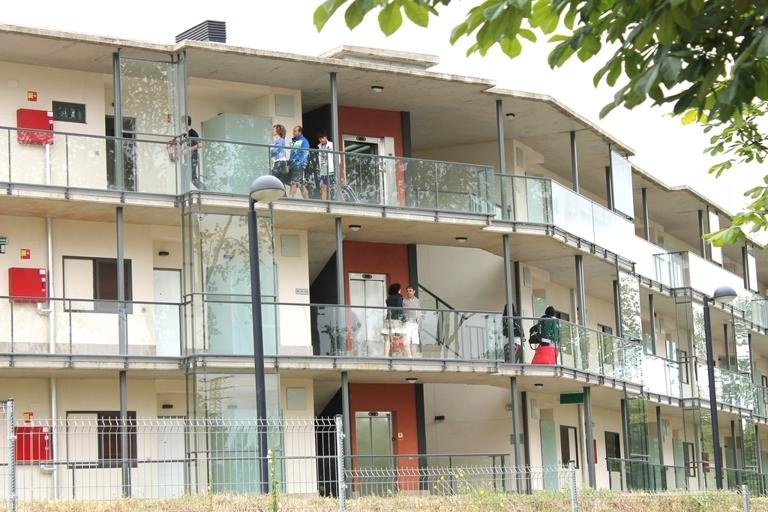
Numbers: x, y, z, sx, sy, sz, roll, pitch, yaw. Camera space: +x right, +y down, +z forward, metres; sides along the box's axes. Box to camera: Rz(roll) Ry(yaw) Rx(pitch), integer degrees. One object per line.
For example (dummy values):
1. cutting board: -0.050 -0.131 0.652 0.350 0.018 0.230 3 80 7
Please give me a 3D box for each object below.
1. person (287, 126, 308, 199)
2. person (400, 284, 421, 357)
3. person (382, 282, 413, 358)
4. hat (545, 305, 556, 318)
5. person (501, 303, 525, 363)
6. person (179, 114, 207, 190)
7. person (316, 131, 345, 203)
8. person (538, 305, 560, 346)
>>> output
1. person: -2.112 -2.355 35.872 0.469 1.823 0.913 0 -14 -4
2. person: 0.710 1.766 36.454 0.707 2.198 0.491 -4 32 -3
3. person: 0.304 1.708 36.447 0.673 1.784 1.439 -1 -13 1
4. hat: 4.557 1.544 39.124 0.133 0.311 0.303 6 0 -44
5. person: 3.421 2.209 37.944 0.421 1.215 1.061 -6 -14 19
6. person: -4.671 -2.494 35.063 0.579 1.750 0.307 1 -14 -7
7. person: -1.311 -1.976 36.134 0.731 1.212 0.458 2 -14 -12
8. person: 4.419 1.840 38.479 0.537 1.117 1.137 -3 -13 6
